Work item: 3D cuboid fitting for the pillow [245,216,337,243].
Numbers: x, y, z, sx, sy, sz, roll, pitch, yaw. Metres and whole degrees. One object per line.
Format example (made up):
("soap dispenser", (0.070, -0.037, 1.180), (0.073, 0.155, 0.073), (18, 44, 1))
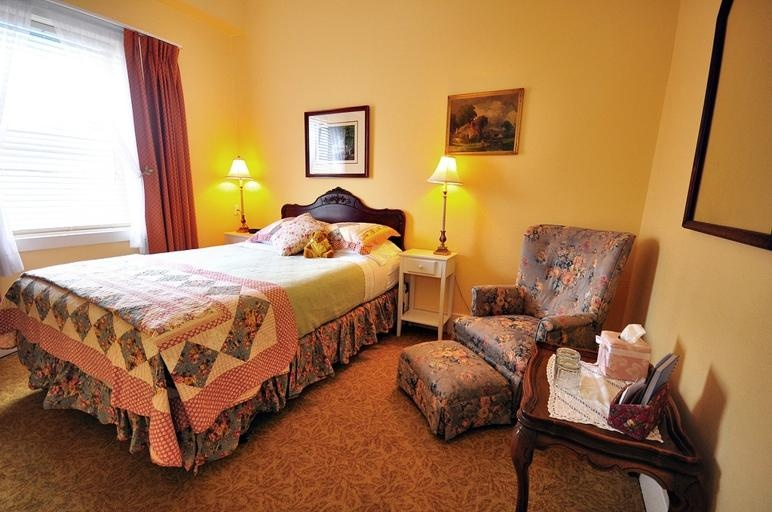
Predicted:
("pillow", (-1.153, -0.291, 5.477), (0.473, 0.148, 0.446), (-24, 13, -31))

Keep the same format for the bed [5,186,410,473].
("bed", (-1.235, 0.381, 4.276), (1.789, 1.153, 2.132), (10, 12, 36))

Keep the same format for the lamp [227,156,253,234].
("lamp", (-1.667, -0.716, 5.991), (0.272, 0.826, 0.259), (-10, 12, -44))

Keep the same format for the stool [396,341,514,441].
("stool", (0.531, 1.030, 4.118), (0.602, 0.523, 0.792), (-8, 17, -27))

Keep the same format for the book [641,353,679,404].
("book", (1.582, 0.706, 3.110), (0.257, 0.275, 0.061), (-16, 25, -34))

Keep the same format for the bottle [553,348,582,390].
("bottle", (1.213, 0.731, 3.329), (0.140, 0.258, 0.244), (-4, 4, -43))

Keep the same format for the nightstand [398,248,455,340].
("nightstand", (0.398, 0.350, 5.192), (0.482, 0.789, 0.448), (8, 11, 26))

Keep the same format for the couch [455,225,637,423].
("couch", (1.226, 0.471, 4.274), (1.167, 1.333, 0.939), (-4, 13, -31))

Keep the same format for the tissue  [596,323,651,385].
("tissue ", (1.585, 0.616, 3.486), (0.300, 0.353, 0.334), (10, 7, 6))

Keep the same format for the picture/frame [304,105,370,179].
("picture/frame", (-0.503, -1.253, 5.562), (0.740, 0.678, 0.032), (8, 17, 30))

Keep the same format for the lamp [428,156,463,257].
("lamp", (0.556, -0.494, 5.046), (0.306, 0.940, 0.421), (2, 16, 8))

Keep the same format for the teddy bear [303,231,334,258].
("teddy bear", (-0.656, -0.078, 5.011), (0.305, 0.313, 0.242), (1, 2, -13))
